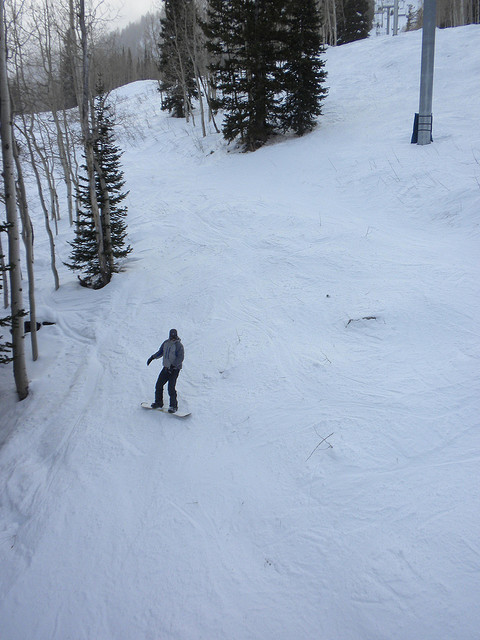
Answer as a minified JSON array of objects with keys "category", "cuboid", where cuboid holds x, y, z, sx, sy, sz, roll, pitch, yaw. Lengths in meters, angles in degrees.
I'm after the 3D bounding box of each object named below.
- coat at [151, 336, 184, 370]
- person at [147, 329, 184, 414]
[{"category":"coat","cuboid":[-1.407,0.711,11.876,0.473,0.623,0.310,6,21,28]},{"category":"person","cuboid":[-1.472,1.056,12.018,0.615,1.739,0.483,11,24,38]}]
